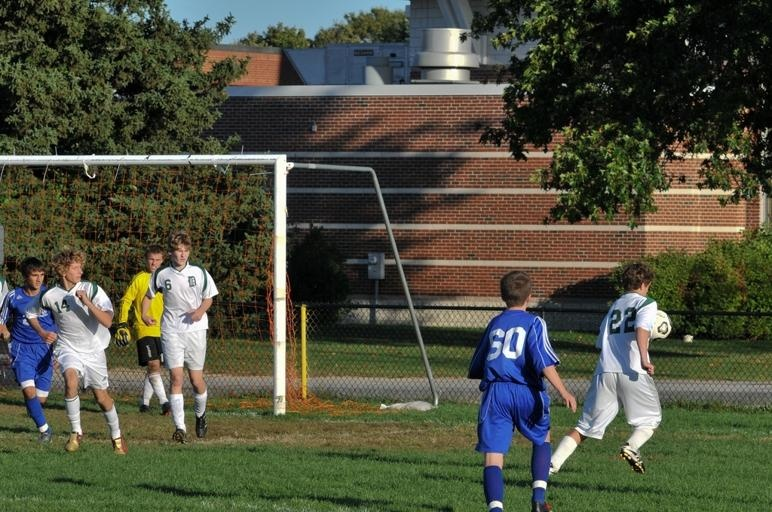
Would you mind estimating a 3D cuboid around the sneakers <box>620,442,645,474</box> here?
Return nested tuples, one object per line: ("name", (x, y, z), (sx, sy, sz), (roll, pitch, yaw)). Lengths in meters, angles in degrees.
("sneakers", (4.488, 3.659, 25.697), (0.289, 0.572, 0.185), (-44, 9, -29))

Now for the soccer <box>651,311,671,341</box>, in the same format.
("soccer", (5.072, 1.239, 25.981), (0.366, 0.486, 0.535), (-1, 0, 2))

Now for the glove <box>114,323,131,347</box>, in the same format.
("glove", (-5.037, 1.484, 27.158), (0.298, 0.419, 0.160), (11, -4, -18))
